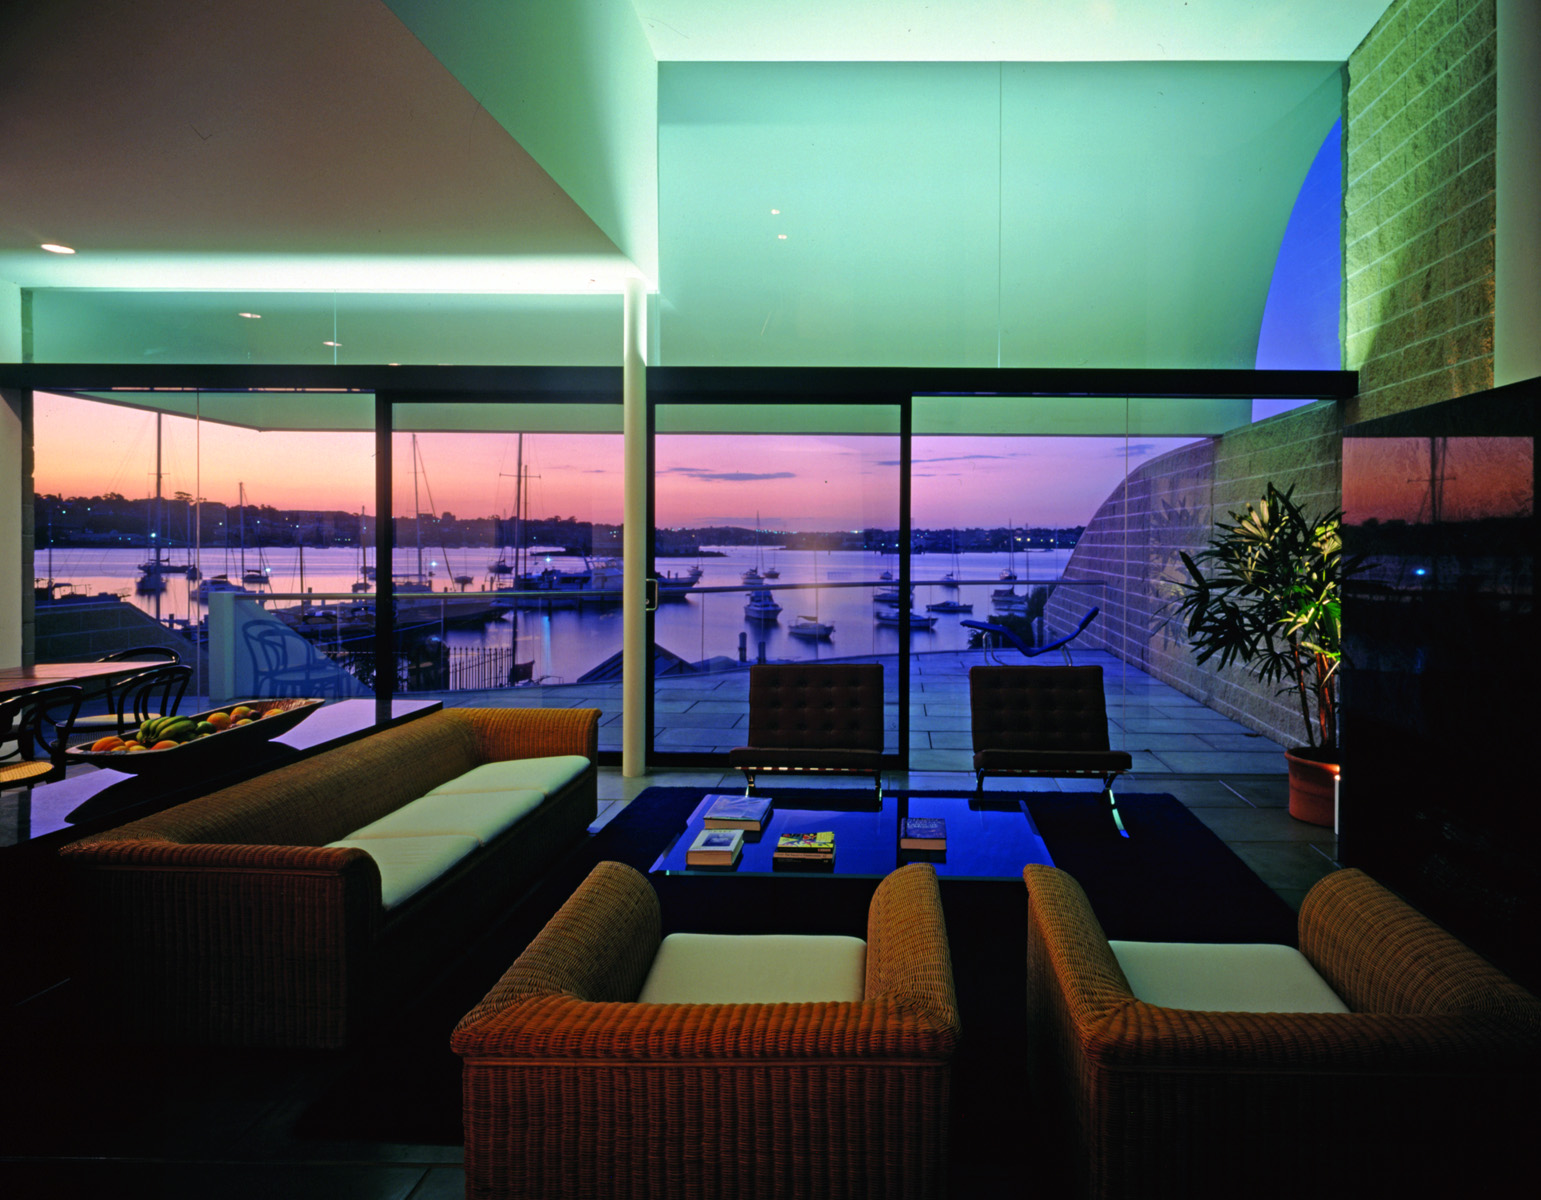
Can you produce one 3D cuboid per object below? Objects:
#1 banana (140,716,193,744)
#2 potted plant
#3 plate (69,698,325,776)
[{"bbox_3d":[-2.150,0.460,4.004,0.102,0.059,0.111,0,0,-4],"label":"banana"},{"bbox_3d":[2.830,0.314,6.197,1.261,1.760,1.178,-10,13,-20],"label":"potted plant"},{"bbox_3d":[-2.066,0.494,4.240,0.308,0.116,0.803,-1,3,11],"label":"plate"}]
